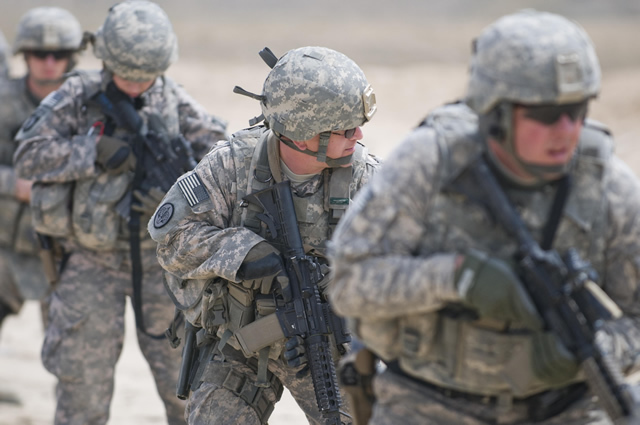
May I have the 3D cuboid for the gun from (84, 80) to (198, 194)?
[{"bbox_3d":[-1.606,-0.623,12.624,0.503,1.023,0.243,-33,-9,-2],"label":"gun"}]

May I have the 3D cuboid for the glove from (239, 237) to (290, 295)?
[{"bbox_3d":[-0.439,0.434,11.277,0.414,0.395,0.220,5,-7,-3],"label":"glove"}]
